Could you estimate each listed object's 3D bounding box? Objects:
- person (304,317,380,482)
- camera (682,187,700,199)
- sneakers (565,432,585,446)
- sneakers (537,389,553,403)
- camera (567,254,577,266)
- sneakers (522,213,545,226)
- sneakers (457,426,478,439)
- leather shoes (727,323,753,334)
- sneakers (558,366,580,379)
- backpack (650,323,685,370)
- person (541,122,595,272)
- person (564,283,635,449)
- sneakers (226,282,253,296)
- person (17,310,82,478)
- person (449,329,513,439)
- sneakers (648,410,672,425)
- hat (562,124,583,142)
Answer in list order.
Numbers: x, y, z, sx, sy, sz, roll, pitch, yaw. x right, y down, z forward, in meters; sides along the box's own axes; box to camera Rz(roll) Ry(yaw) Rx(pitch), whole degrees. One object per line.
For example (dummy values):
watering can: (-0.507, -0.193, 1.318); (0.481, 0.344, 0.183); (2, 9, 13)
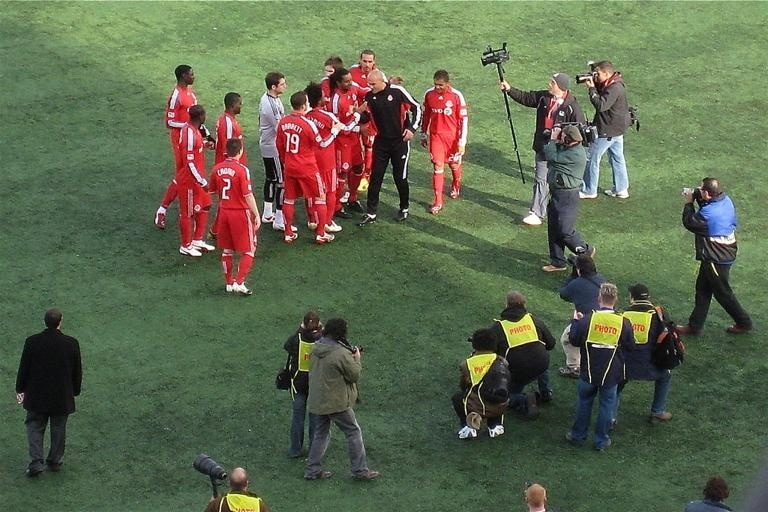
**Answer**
person: (-0.685, 2.013, 18.328); (0.953, 2.276, 0.554); (-3, 18, -3)
camera: (4.675, -0.959, 19.825); (0.175, 0.091, 0.223); (-1, 10, -2)
sneakers: (2.750, 2.616, 18.714); (0.154, 0.114, 0.282); (-20, 33, -24)
sneakers: (2.392, 2.051, 19.270); (0.123, 0.116, 0.298); (0, 15, 0)
camera: (2.911, 0.054, 20.071); (0.181, 0.151, 0.165); (3, 42, 28)
sneakers: (2.555, -0.636, 22.218); (0.331, 0.188, 0.184); (7, 30, 5)
sneakers: (1.214, 2.533, 18.820); (0.101, 0.144, 0.266); (-5, -6, -43)
leather shoes: (5.468, 1.066, 20.022); (0.420, 0.246, 0.150); (2, 21, 18)
sneakers: (2.788, 1.735, 19.616); (0.242, 0.066, 0.165); (3, 32, 9)
backpack: (4.035, 1.293, 18.608); (0.442, 0.678, 0.508); (-6, 31, 12)
person: (2.950, -0.933, 21.000); (0.728, 2.395, 0.801); (0, 18, 6)
person: (3.118, 1.562, 18.666); (0.926, 2.290, 0.787); (1, 18, 9)
sneakers: (-2.330, 0.511, 20.878); (0.474, 0.213, 0.162); (4, 10, -4)
person: (-4.734, 1.915, 18.538); (0.918, 2.260, 0.721); (-6, 19, -15)
person: (1.399, 1.847, 18.681); (0.806, 1.629, 0.495); (-1, 18, 2)
sneakers: (4.016, 2.300, 18.892); (0.366, 0.216, 0.136); (-11, 39, -6)
hat: (3.018, -1.962, 20.723); (0.317, 0.161, 0.218); (33, 76, 25)
